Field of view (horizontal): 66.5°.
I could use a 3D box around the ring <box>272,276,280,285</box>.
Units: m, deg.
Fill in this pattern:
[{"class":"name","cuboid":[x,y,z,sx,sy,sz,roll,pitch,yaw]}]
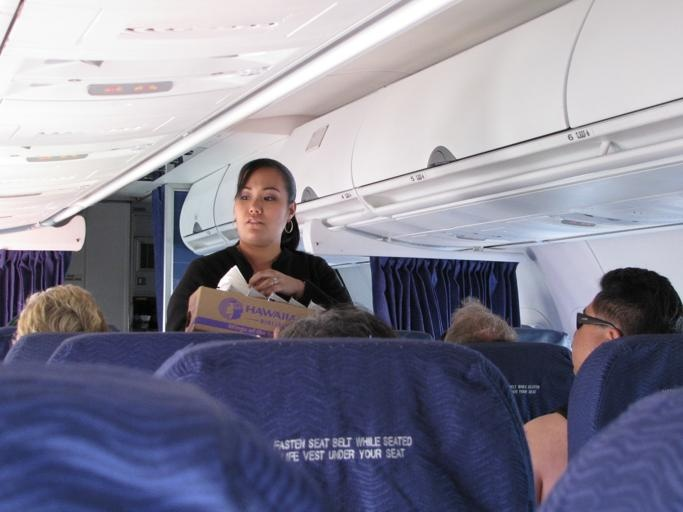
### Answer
[{"class":"ring","cuboid":[-0.205,0.075,1.617,0.025,0.025,0.008,8,-5,-33]}]
